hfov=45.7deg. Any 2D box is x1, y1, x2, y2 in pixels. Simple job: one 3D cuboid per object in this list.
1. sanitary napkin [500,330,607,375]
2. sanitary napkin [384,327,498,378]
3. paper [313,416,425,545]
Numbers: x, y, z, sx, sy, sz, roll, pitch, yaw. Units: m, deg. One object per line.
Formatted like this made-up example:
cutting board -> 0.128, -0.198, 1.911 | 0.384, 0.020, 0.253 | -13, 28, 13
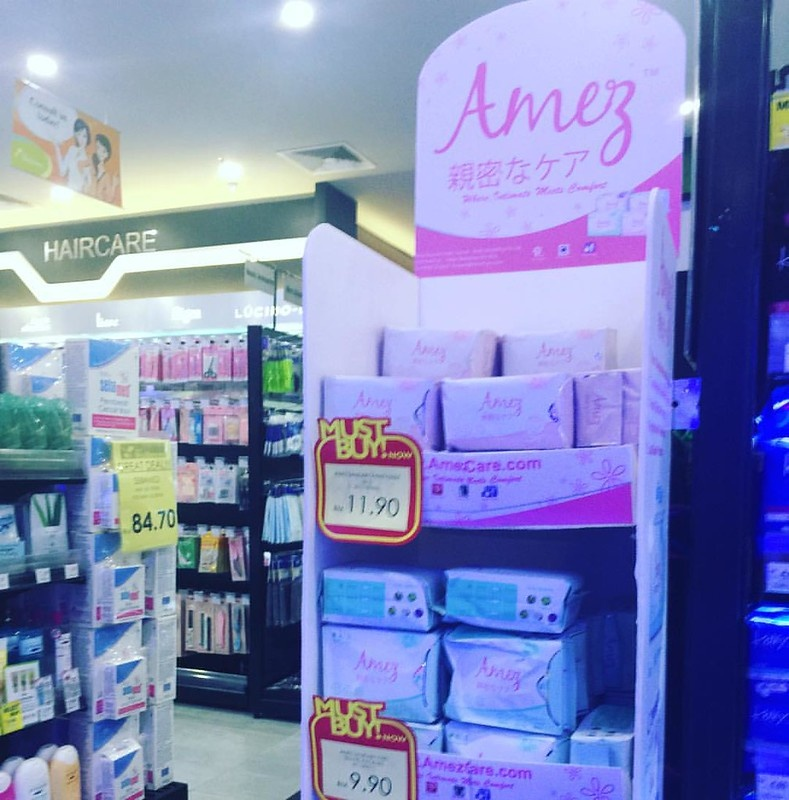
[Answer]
sanitary napkin -> 0.400, -0.117, 2.332 | 0.291, 0.103, 0.156 | 0, 0, 15
sanitary napkin -> 0.113, -0.120, 2.395 | 0.291, 0.132, 0.141 | 0, 0, 2
paper -> -0.054, 0.181, 2.161 | 0.233, 0.332, 0.015 | 0, -2, 15
